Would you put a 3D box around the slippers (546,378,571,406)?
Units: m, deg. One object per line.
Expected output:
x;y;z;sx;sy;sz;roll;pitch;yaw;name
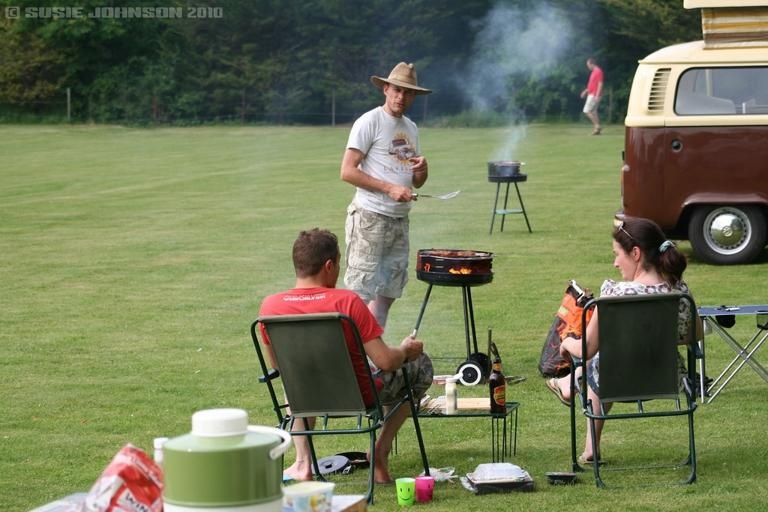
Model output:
2.702;2.111;27.204;0.226;0.146;0.550;23;19;-49;slippers

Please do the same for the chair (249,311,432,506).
-0.979;2.158;26.321;2.744;3.578;2.992;-3;-1;20;chair

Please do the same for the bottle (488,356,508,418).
1.726;1.955;26.726;0.233;0.819;0.211;-3;6;9;bottle

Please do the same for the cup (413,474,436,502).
0.575;3.507;26.364;0.356;0.347;0.345;2;2;0;cup

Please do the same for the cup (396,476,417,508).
0.331;3.537;26.163;0.381;0.371;0.366;1;1;0;cup

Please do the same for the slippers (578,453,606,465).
3.170;3.096;26.628;0.422;0.152;0.159;2;3;9;slippers

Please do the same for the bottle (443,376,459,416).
1.025;2.113;26.756;0.194;0.541;0.333;-4;6;2;bottle
